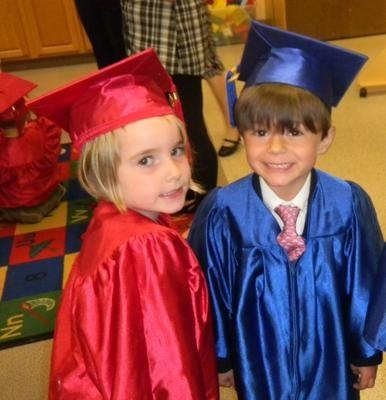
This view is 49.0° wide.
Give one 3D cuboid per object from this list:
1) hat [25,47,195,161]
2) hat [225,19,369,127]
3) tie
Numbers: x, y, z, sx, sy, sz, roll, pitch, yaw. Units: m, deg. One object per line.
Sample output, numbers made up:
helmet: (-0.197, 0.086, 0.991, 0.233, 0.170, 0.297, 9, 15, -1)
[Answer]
hat: (-0.208, -0.213, 0.969, 0.237, 0.274, 0.102, -25, 60, 5)
hat: (0.248, -0.328, 1.002, 0.239, 0.085, 0.259, 2, 38, -29)
tie: (0.240, 0.074, 1.043, 0.055, 0.144, 0.035, -5, -9, 5)
